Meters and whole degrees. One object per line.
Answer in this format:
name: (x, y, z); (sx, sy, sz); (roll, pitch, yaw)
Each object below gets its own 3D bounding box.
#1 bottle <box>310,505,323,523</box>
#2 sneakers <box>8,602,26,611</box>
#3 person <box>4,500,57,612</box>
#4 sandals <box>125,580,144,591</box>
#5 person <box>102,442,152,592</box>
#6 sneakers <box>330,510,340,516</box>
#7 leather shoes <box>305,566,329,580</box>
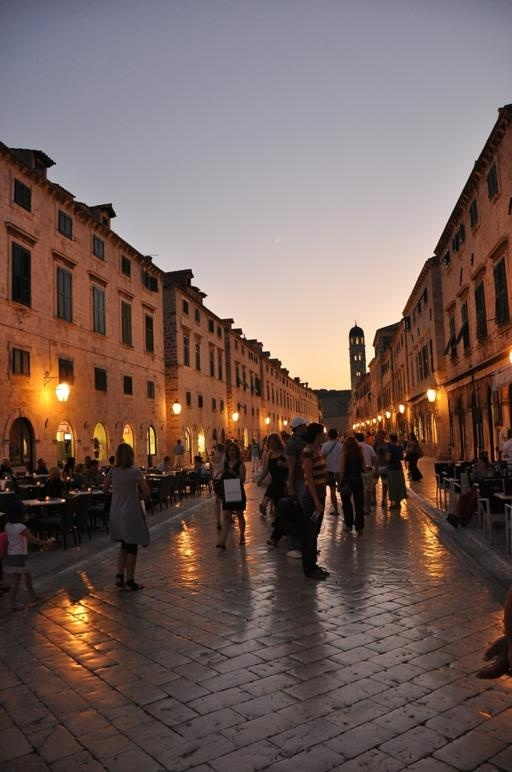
bottle: (0.722, 1.515, 6.275); (0.121, 0.122, 0.199); (34, -5, 22)
sneakers: (-2.567, 2.373, 5.685); (0.169, 0.128, 0.066); (1, 0, -27)
person: (-2.879, 2.028, 6.582); (0.409, 1.244, 1.927); (0, -7, -24)
sandals: (-1.442, 2.369, 6.296); (0.203, 0.129, 0.107); (-3, 1, -11)
person: (-1.561, 1.573, 6.414); (0.484, 1.755, 0.767); (-1, -6, -17)
sneakers: (1.921, 3.129, 12.958); (0.202, 0.146, 0.109); (14, -17, 13)
leather shoes: (0.752, 2.252, 6.367); (0.300, 0.142, 0.116); (-6, -3, 16)
